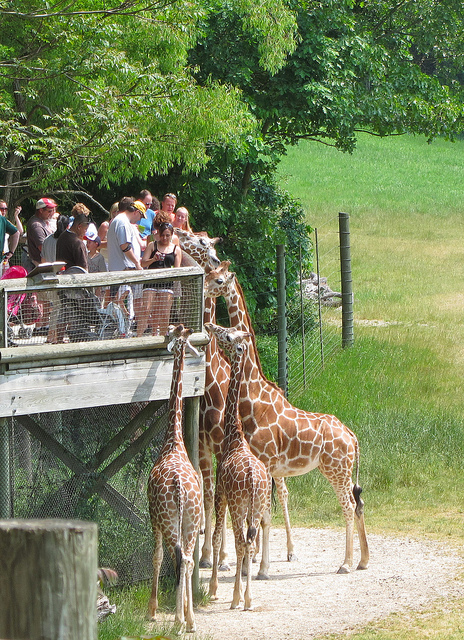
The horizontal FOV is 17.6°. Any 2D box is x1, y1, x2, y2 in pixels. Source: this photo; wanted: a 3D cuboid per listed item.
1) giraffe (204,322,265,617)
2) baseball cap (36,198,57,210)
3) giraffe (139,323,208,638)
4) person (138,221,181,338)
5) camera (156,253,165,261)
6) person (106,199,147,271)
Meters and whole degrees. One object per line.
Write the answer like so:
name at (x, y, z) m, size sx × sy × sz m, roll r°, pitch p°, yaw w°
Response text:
giraffe at (0.023, 1.486, 15.074) m, size 0.635 × 2.843 × 1.885 m, roll 2°, pitch 9°, yaw -1°
baseball cap at (-2.107, -1.324, 16.893) m, size 0.166 × 0.125 × 0.112 m, roll -10°, pitch 20°, yaw -33°
giraffe at (-0.535, 1.464, 14.354) m, size 0.596 × 2.797 × 2.225 m, roll 2°, pitch 9°, yaw -3°
person at (-0.716, -0.450, 15.166) m, size 0.403 × 0.981 × 1.590 m, roll 3°, pitch 10°, yaw -3°
camera at (-0.738, -0.662, 15.558) m, size 0.079 × 0.059 × 0.037 m, roll 5°, pitch 9°, yaw 2°
person at (-1.124, -0.893, 15.860) m, size 0.400 × 0.695 × 0.793 m, roll 2°, pitch 9°, yaw -6°
